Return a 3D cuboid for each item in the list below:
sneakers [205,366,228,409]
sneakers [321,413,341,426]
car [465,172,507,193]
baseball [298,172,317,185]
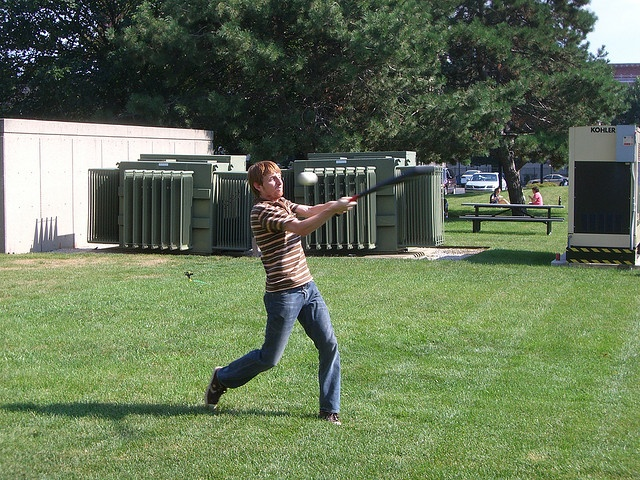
[{"bbox_3d":[-1.432,2.014,12.232,0.244,0.665,0.201,9,2,38],"label":"sneakers"},{"bbox_3d":[0.135,2.309,11.972,0.252,0.123,0.119,6,4,35],"label":"sneakers"},{"bbox_3d":[11.104,-4.199,61.552,2.515,1.455,4.965,4,15,10],"label":"car"},{"bbox_3d":[-0.172,-0.825,12.228,0.183,0.110,0.199,1,-1,-1],"label":"baseball"}]
